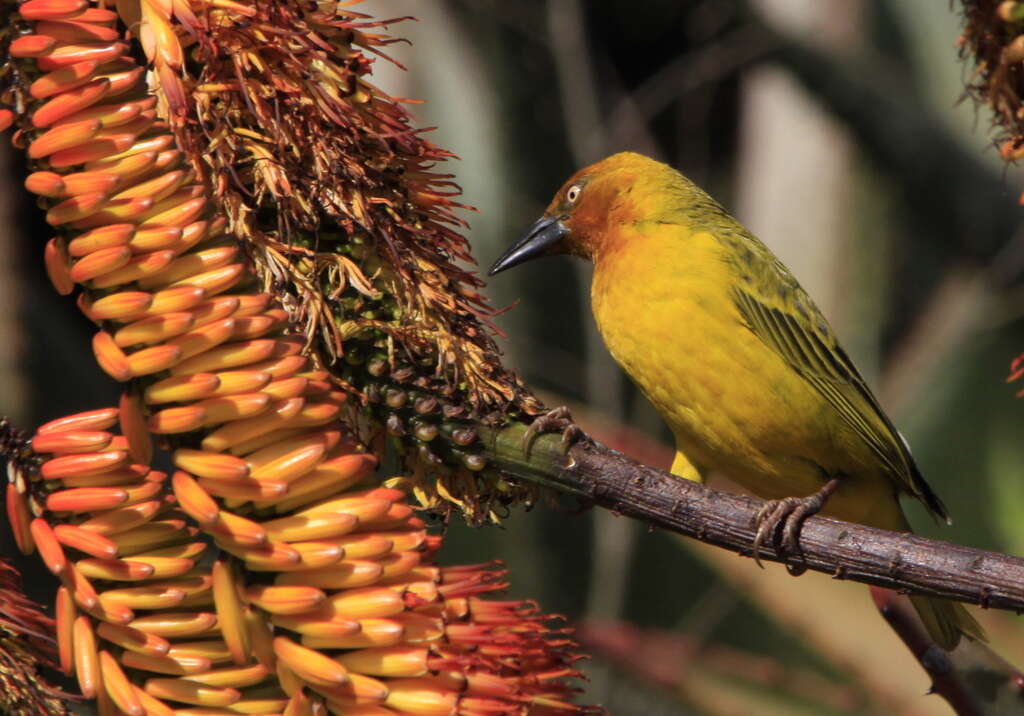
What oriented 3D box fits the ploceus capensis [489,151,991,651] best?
[{"bbox_3d":[0.620,0.028,3.086,1.264,0.785,0.467,11,-6,-7],"label":"ploceus capensis"}]
